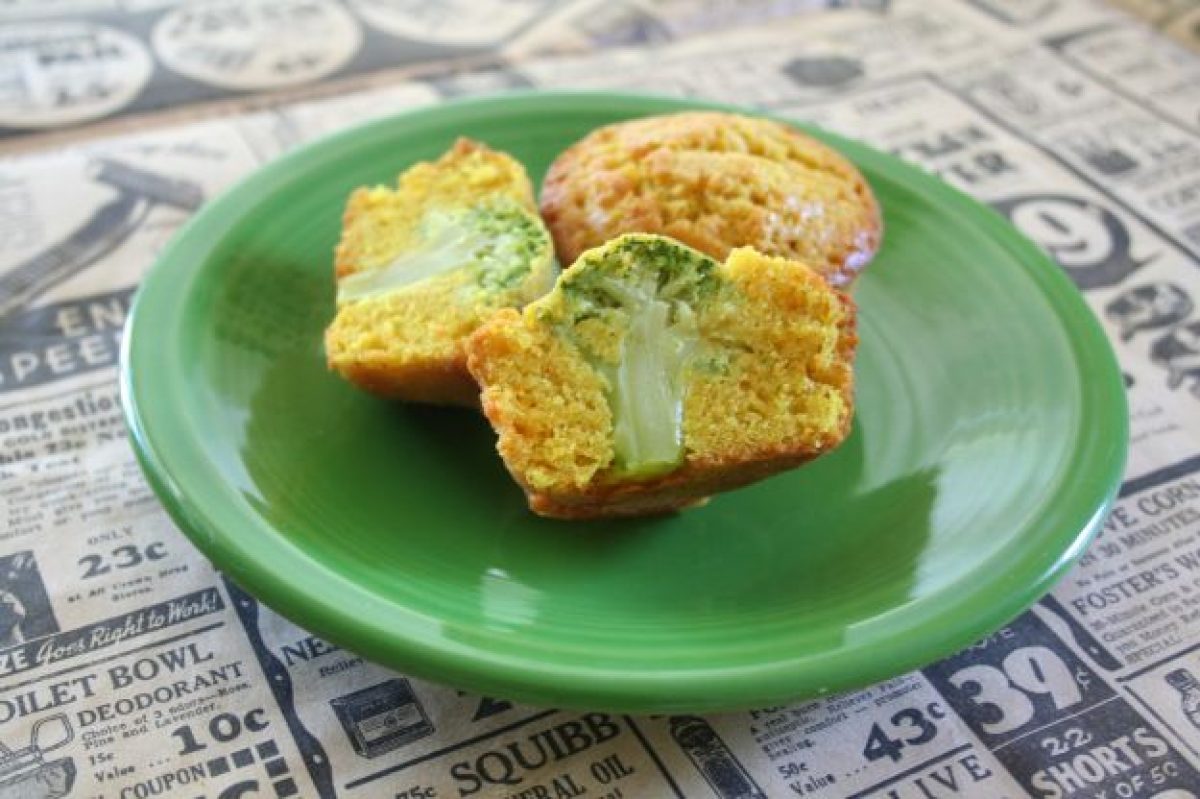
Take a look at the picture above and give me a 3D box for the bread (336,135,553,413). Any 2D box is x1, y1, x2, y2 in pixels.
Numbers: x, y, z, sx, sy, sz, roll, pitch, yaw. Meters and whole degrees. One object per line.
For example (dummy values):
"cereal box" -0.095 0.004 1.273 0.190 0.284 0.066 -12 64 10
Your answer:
"bread" -0.271 -0.186 1.789 0.362 0.150 0.432 -17 57 8

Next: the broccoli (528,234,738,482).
"broccoli" 0.059 -0.082 1.614 0.386 0.324 0.092 -10 10 -4

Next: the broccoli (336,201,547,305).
"broccoli" -0.258 -0.259 1.797 0.275 0.064 0.180 -16 60 -1
